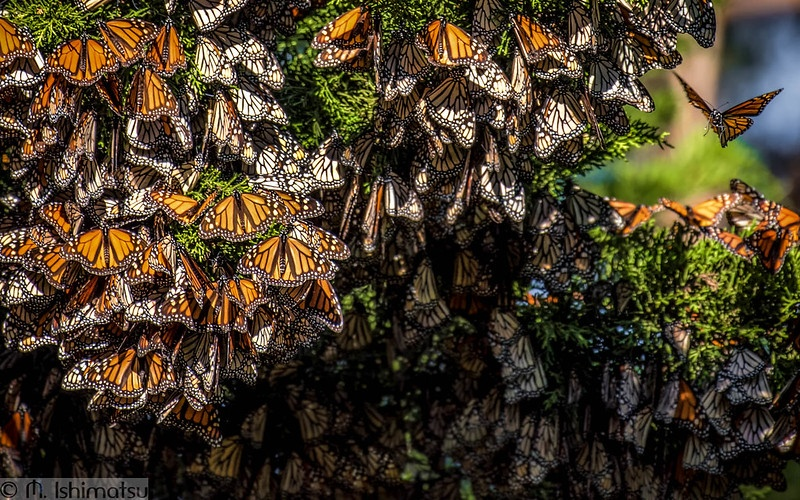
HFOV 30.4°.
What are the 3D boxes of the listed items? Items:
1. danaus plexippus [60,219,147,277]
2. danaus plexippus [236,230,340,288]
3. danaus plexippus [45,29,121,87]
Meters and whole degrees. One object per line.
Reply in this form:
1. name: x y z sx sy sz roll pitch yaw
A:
1. danaus plexippus: -0.757 -0.003 3.799 0.224 0.139 0.046 -4 20 5
2. danaus plexippus: -0.296 0.018 3.752 0.276 0.145 0.063 1 -16 -27
3. danaus plexippus: -0.807 -0.494 3.751 0.189 0.136 0.045 -4 14 -40
